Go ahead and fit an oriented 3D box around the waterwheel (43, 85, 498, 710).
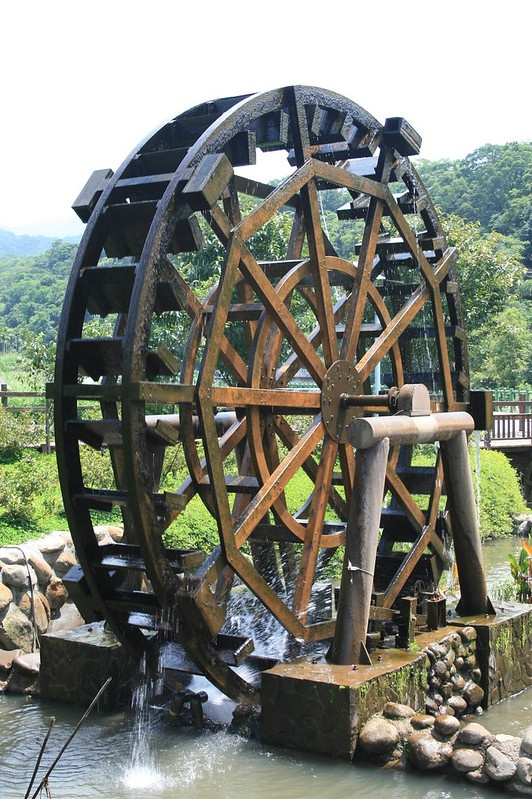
[{"bbox_3d":[0.280,-0.042,5.410,1.996,3.897,3.347,7,6,42],"label":"waterwheel"}]
